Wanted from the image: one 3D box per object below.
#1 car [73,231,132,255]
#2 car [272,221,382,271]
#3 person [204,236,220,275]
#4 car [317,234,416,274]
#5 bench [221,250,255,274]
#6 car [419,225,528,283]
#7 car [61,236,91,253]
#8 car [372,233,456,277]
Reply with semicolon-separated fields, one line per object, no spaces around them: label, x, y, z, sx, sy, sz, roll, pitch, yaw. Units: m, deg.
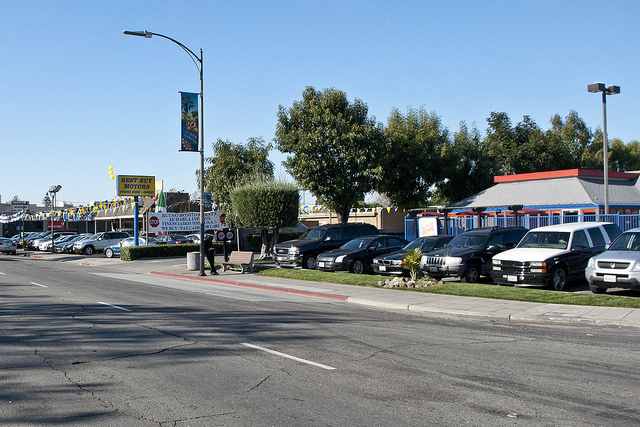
car;-16.177;2.060;50.594;4.114;1.588;1.841;0;-2;-32
car;0.257;1.446;32.089;4.284;1.782;2.304;1;-4;-30
person;-5.028;1.948;31.331;0.563;1.585;1.602;-2;7;-12
car;2.087;1.661;29.446;3.801;1.261;1.724;1;-4;-35
bench;-3.699;2.197;31.192;0.736;1.111;1.848;-5;9;-34
car;5.776;1.431;25.567;3.299;1.272;2.074;-3;-2;-41
car;-18.389;2.316;51.607;2.453;0.848;1.104;1;-2;-29
car;3.833;1.574;26.808;3.252;1.092;1.503;-2;0;-40
